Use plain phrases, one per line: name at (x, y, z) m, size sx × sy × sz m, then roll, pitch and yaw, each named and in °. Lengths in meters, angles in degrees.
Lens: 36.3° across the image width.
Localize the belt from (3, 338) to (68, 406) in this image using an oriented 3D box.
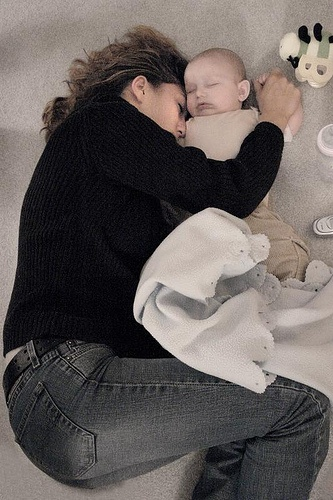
belt at (-0.265, 0.238, 1.000) m, size 0.133 × 0.125 × 0.053 m, roll 0°, pitch 28°, yaw -4°
